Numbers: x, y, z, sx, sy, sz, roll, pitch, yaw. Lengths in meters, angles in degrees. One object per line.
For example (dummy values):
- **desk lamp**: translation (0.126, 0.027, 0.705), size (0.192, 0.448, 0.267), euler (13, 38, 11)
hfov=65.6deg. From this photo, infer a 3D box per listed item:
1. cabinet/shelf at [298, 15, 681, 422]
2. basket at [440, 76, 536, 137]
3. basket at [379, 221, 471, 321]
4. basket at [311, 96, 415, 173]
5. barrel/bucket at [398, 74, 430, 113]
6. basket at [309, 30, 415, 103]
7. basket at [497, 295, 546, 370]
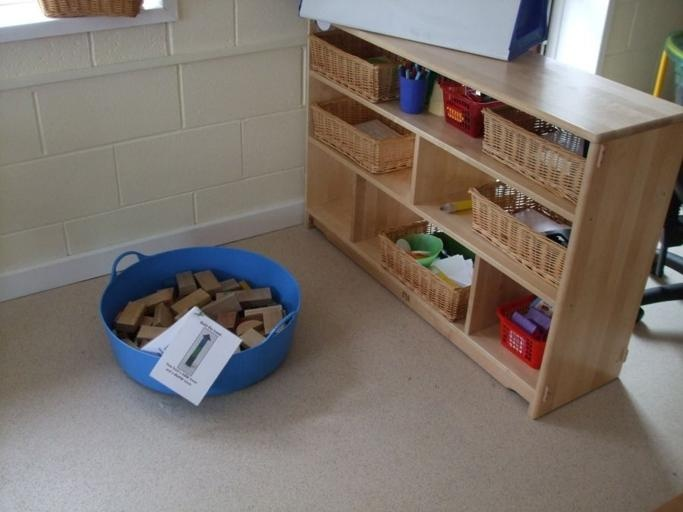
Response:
- **cabinet/shelf**: translation (0.531, -0.096, 2.007), size (0.461, 1.050, 1.315), euler (-18, 40, -26)
- **basket**: translation (0.507, -0.600, 2.026), size (0.163, 0.241, 0.237), euler (-6, 29, -20)
- **basket**: translation (0.342, 0.097, 2.297), size (0.297, 0.174, 0.463), euler (-18, 42, -28)
- **basket**: translation (0.091, -0.576, 2.477), size (0.332, 0.193, 0.516), euler (-19, 41, -28)
- **barrel/bucket**: translation (0.289, -0.655, 2.137), size (0.120, 0.139, 0.123), euler (1, 30, -1)
- **basket**: translation (0.097, -0.879, 2.381), size (0.318, 0.173, 0.493), euler (-23, 44, -32)
- **basket**: translation (0.727, 0.299, 2.008), size (0.179, 0.143, 0.252), euler (-12, 25, -18)
